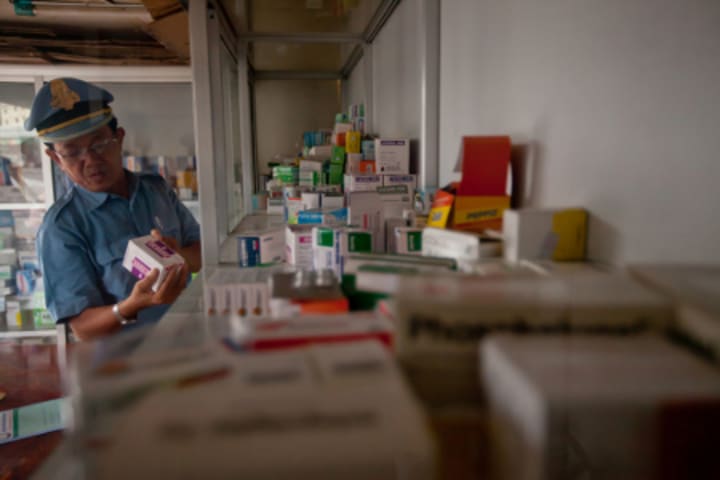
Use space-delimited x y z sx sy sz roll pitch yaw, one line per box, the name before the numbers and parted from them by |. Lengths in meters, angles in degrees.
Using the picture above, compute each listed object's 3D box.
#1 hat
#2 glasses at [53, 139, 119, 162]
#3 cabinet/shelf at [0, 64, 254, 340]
hat | -1.378 -0.619 2.632 0.459 0.224 0.527 -28 21 -25
glasses | -1.237 -0.411 2.521 0.253 0.080 0.095 -15 15 -26
cabinet/shelf | -1.115 -0.114 2.640 0.766 1.282 0.836 -9 13 9
